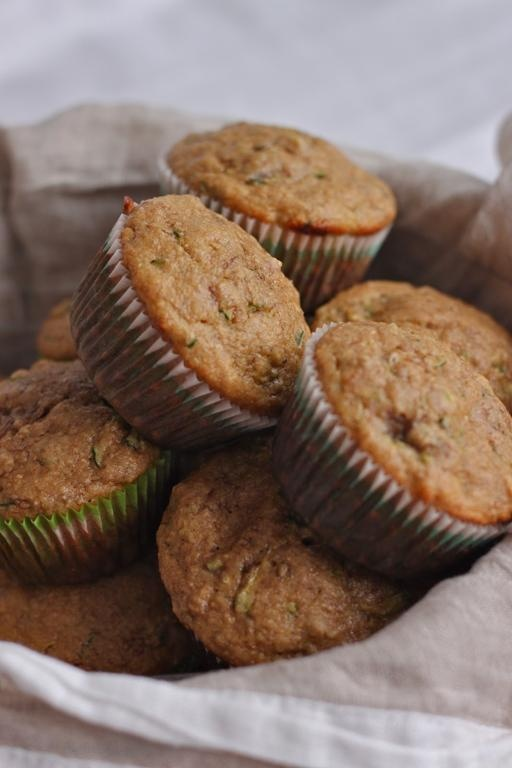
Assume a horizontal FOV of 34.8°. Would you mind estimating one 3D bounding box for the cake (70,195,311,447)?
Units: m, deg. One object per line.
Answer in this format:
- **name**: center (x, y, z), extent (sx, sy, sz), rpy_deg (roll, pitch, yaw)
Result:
- **cake**: center (-0.140, -0.174, 1.939), extent (0.603, 0.328, 0.476), rpy_deg (14, 64, -36)
